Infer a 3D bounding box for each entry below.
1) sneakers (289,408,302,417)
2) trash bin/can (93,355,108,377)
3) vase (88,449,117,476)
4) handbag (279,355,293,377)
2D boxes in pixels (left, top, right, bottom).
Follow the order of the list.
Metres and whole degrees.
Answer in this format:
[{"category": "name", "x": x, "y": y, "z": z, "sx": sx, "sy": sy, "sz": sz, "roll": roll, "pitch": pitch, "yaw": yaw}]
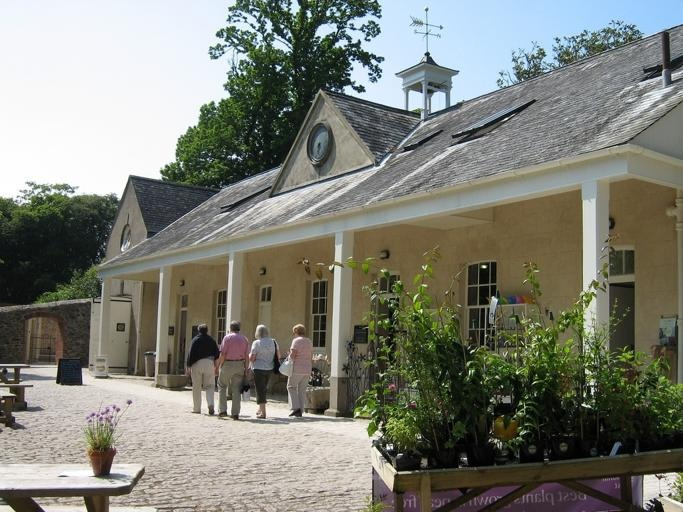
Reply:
[{"category": "sneakers", "x": -0.925, "y": 3.154, "z": 13.773, "sx": 0.280, "sy": 0.147, "sz": 0.108, "roll": 3, "pitch": -6, "yaw": 15}, {"category": "trash bin/can", "x": -8.438, "y": 3.849, "z": 23.944, "sx": 0.475, "sy": 0.790, "sz": 0.322, "roll": 8, "pitch": -12, "yaw": -29}, {"category": "vase", "x": -2.162, "y": 1.843, "z": 6.164, "sx": 0.209, "sy": 0.202, "sz": 0.210, "roll": 7, "pitch": -14, "yaw": -37}, {"category": "handbag", "x": -1.122, "y": 2.190, "z": 13.680, "sx": 0.249, "sy": 0.389, "sz": 0.344, "roll": 1, "pitch": -11, "yaw": 6}]
